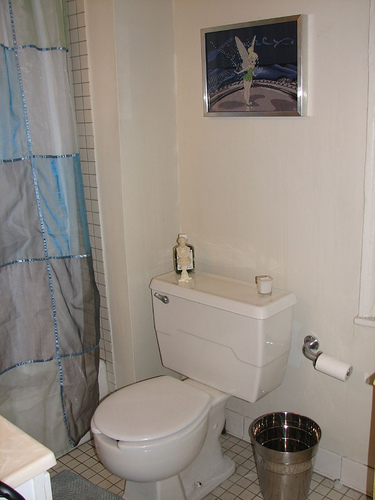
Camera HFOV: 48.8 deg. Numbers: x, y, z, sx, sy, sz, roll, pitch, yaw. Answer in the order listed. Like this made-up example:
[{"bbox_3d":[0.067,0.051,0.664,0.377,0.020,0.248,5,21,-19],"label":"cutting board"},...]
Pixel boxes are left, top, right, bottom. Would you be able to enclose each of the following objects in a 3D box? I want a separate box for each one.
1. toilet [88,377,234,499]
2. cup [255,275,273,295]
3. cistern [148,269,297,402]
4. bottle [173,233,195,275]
[{"bbox_3d":[-0.060,0.715,1.503,0.348,0.392,0.519,7,10,36],"label":"toilet"},{"bbox_3d":[0.276,0.132,1.555,0.045,0.070,0.065,-4,13,-15],"label":"cup"},{"bbox_3d":[0.122,0.334,1.691,0.517,0.426,0.298,10,15,30],"label":"cistern"},{"bbox_3d":[-0.017,0.014,1.799,0.090,0.203,0.022,-3,35,2],"label":"bottle"}]
